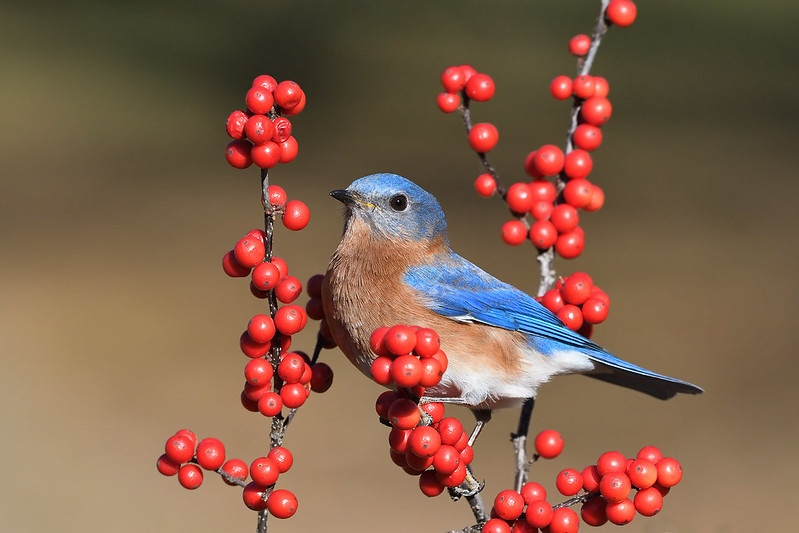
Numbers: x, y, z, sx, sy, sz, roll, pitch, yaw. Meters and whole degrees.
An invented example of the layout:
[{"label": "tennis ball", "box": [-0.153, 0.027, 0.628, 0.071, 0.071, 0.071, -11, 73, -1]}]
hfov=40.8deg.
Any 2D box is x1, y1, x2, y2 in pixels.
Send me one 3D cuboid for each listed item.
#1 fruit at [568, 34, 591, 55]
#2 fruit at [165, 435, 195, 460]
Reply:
[{"label": "fruit", "box": [1.128, -1.362, 6.690, 0.122, 0.140, 0.178, 8, 18, 6]}, {"label": "fruit", "box": [-1.244, 1.042, 6.120, 0.164, 0.182, 0.104, 1, 18, -17]}]
